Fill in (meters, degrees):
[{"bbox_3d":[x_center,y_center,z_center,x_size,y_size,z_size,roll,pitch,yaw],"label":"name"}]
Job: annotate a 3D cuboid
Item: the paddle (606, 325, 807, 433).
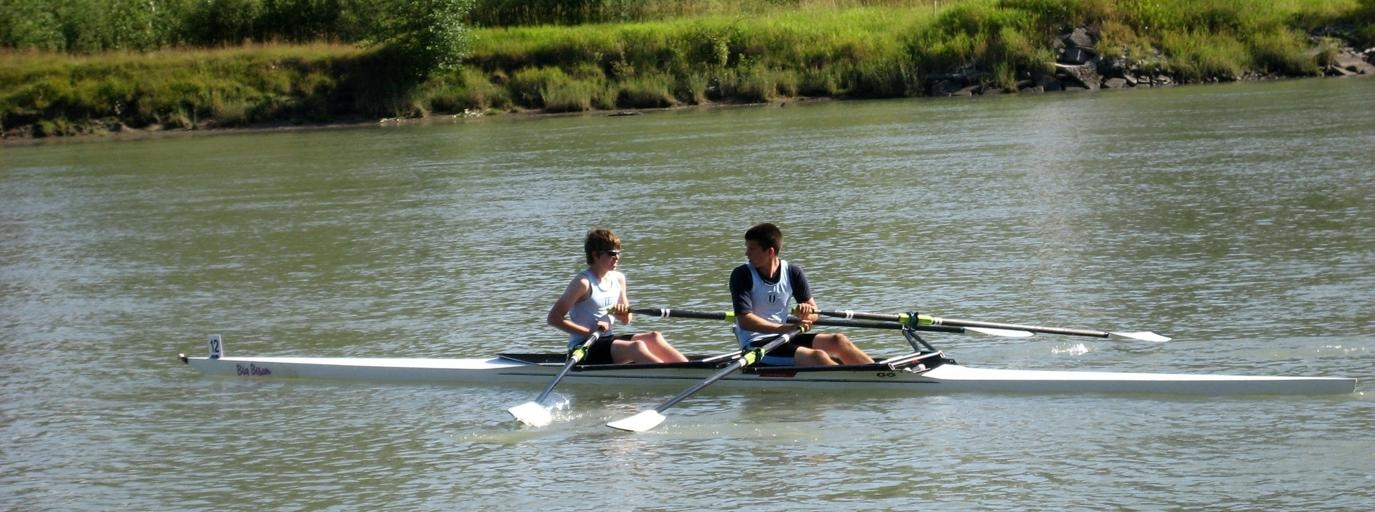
[{"bbox_3d":[0.642,4.540,73.526,8.580,0.988,0.593,-21,57,-14],"label":"paddle"}]
